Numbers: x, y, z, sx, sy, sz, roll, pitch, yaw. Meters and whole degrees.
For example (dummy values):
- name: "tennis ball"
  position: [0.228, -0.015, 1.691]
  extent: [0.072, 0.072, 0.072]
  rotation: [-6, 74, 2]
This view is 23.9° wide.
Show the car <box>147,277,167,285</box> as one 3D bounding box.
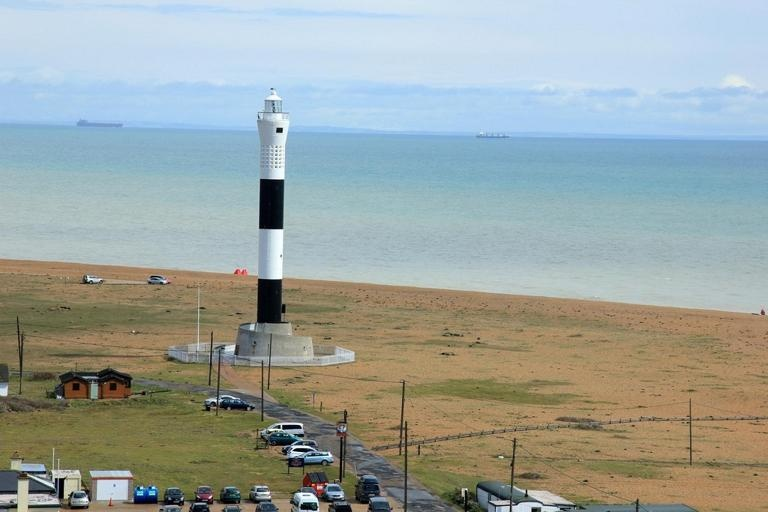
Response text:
- name: "car"
  position: [-32.477, 3.888, 255.342]
  extent: [2.409, 0.709, 1.190]
  rotation: [-1, 4, 7]

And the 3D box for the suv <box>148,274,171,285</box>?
- name: "suv"
  position: [-32.396, 3.857, 255.520]
  extent: [2.968, 0.891, 1.511]
  rotation: [-1, 5, 4]

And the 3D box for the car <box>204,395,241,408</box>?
- name: "car"
  position: [-18.244, 16.321, 200.098]
  extent: [3.599, 0.697, 1.365]
  rotation: [2, -3, -9]

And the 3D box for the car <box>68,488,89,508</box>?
- name: "car"
  position: [-30.913, 24.333, 179.730]
  extent: [1.654, 0.889, 2.153]
  rotation: [0, 8, -10]

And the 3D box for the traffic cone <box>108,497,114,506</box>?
- name: "traffic cone"
  position: [-27.893, 24.691, 181.173]
  extent: [0.481, 0.725, 0.923]
  rotation: [-1, -1, -5]

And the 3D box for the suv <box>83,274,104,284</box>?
- name: "suv"
  position: [-41.577, 3.693, 254.329]
  extent: [2.765, 0.921, 1.359]
  rotation: [-4, 13, -14]

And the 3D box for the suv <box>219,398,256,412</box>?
- name: "suv"
  position: [-16.526, 16.549, 200.054]
  extent: [3.845, 0.800, 1.453]
  rotation: [0, 3, -8]
